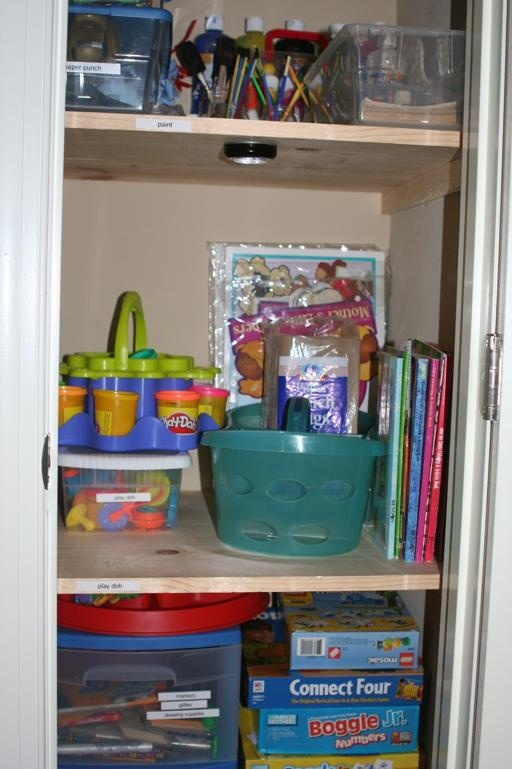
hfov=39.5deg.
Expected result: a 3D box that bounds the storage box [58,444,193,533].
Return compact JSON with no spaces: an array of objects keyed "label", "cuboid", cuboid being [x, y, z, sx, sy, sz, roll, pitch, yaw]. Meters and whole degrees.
[{"label":"storage box","cuboid":[-0.209,0.132,1.094,0.181,0.090,0.131,0,-5,-6]}]

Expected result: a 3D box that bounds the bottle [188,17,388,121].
[{"label":"bottle","cuboid":[0.033,-0.453,1.139,0.248,0.214,0.241,-2,15,-9]}]

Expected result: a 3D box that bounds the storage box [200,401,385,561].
[{"label":"storage box","cuboid":[0.049,0.138,0.945,0.183,0.148,0.223,4,-14,1]}]

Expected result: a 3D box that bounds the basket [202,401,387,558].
[{"label":"basket","cuboid":[0.046,0.138,0.955,0.184,0.141,0.222,3,-14,3]}]

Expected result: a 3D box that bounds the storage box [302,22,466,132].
[{"label":"storage box","cuboid":[0.189,-0.404,0.996,0.138,0.085,0.191,0,11,-10]}]

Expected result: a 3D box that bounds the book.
[{"label":"book","cuboid":[0.222,0.106,1.012,0.106,0.302,0.319,0,2,2]}]

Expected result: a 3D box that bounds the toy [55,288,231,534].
[{"label":"toy","cuboid":[-0.189,0.073,1.204,0.395,0.432,0.311,2,-5,-6]}]

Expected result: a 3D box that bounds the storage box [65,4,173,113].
[{"label":"storage box","cuboid":[-0.186,-0.431,0.984,0.109,0.109,0.160,0,6,-9]}]
